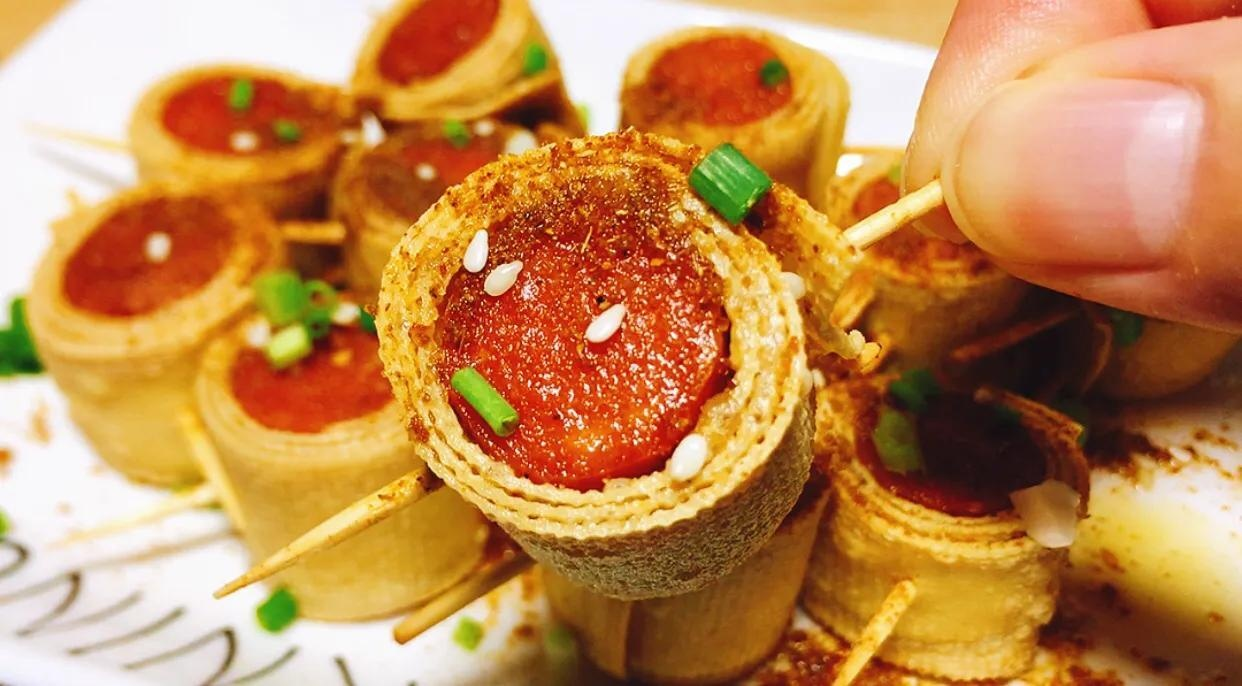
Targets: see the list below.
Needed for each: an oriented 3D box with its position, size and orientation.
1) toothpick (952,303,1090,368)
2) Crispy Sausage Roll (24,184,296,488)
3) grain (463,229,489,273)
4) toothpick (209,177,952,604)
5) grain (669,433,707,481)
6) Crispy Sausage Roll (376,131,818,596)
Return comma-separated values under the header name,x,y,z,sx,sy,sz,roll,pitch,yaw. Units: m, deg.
name,x,y,z,sx,sy,sz,roll,pitch,yaw
toothpick,1.277,-0.021,3.936,0.322,0.291,0.237,0,-3,11
Crispy Sausage Roll,-1.623,-0.050,4.236,0.821,0.783,0.810,-20,56,-28
grain,-0.401,-0.254,3.384,0.072,0.110,0.041,16,-4,12
toothpick,-0.086,0.176,3.577,2.646,0.114,0.136,-29,64,3
grain,0.188,0.314,3.327,0.130,0.087,0.075,-52,7,-7
Crispy Sausage Roll,-0.164,0.075,3.548,1.125,1.272,0.785,-16,17,-27
